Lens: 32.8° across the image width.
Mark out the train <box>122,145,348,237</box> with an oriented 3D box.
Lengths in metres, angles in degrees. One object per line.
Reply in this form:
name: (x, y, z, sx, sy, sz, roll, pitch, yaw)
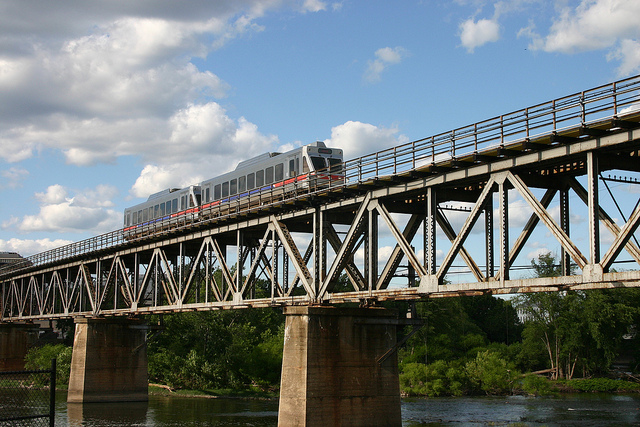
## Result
train: (-12.627, -1.554, 123.933, 5.394, 6.467, 41.469, -9, -3, -38)
